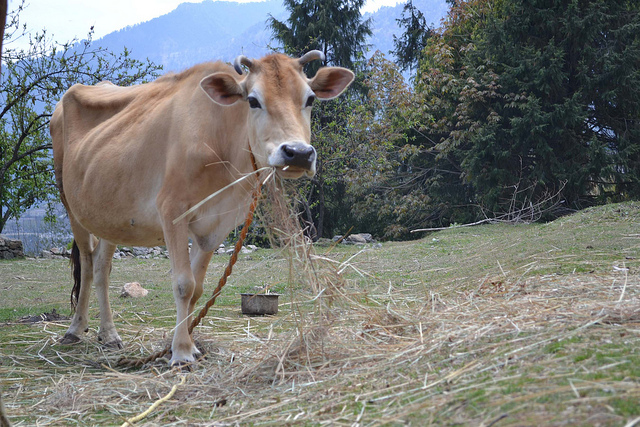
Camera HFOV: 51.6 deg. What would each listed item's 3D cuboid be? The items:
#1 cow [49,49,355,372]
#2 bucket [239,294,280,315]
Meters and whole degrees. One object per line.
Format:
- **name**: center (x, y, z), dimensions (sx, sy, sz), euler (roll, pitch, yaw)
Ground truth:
- **cow**: center (-1.883, 0.006, 8.792), dimensions (5.015, 3.698, 1.700), euler (-3, -4, 39)
- **bucket**: center (-0.888, 1.352, 9.870), dimensions (0.609, 0.310, 0.436), euler (-1, -3, 10)
